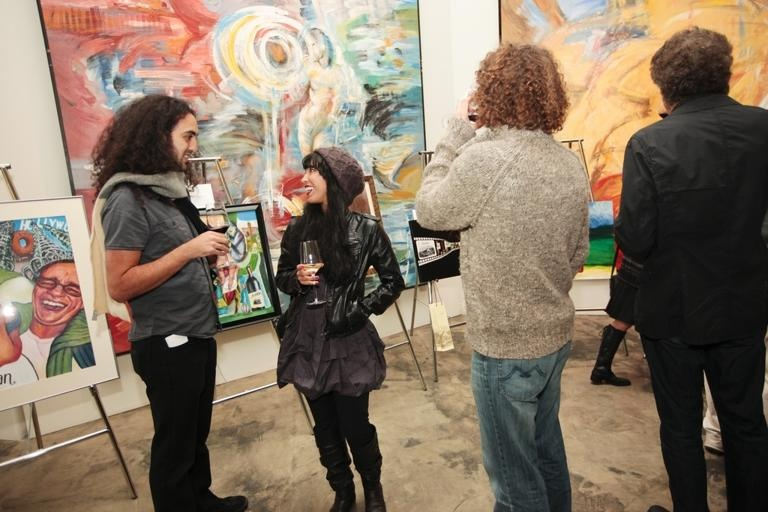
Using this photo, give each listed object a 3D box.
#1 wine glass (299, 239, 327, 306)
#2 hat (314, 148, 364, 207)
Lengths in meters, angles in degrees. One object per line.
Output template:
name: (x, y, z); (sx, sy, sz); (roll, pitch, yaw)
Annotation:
wine glass: (-0.401, 0.102, 2.768); (0.112, 0.382, 0.203); (-5, 14, -6)
hat: (-0.223, -0.507, 3.001); (0.221, 0.322, 0.326); (-23, 18, 2)
